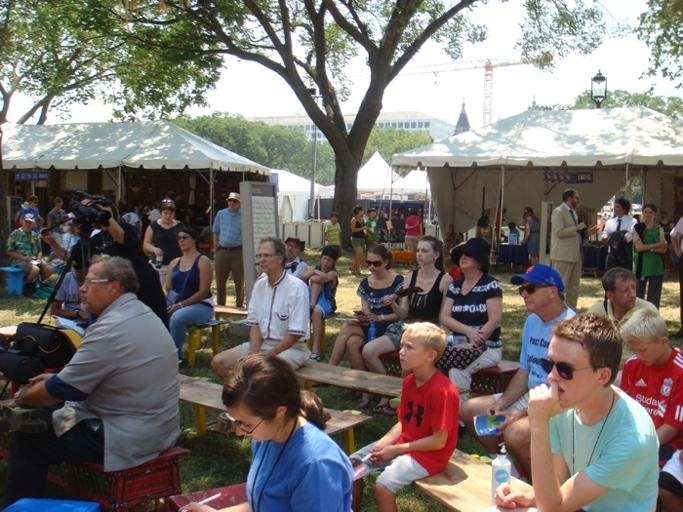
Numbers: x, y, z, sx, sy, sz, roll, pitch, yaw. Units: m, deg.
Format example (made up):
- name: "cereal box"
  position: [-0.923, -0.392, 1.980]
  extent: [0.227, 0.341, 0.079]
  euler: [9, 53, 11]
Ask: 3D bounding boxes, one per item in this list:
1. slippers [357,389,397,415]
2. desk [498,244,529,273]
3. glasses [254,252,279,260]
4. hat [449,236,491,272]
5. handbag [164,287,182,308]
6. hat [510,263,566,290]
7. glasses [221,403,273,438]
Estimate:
- name: "slippers"
  position: [0.377, 1.530, 6.700]
  extent: [0.268, 0.176, 0.522]
  euler: [0, -4, -6]
- name: "desk"
  position: [4.890, 0.065, 17.889]
  extent: [0.804, 0.636, 0.833]
  euler: [0, -2, 3]
- name: "glasses"
  position: [-0.745, 0.012, 6.267]
  extent: [0.248, 0.068, 0.124]
  euler: [1, -2, 7]
- name: "hat"
  position: [1.332, -0.015, 6.433]
  extent: [0.374, 0.362, 0.495]
  euler: [1, -2, 10]
- name: "handbag"
  position: [-2.305, 0.567, 8.414]
  extent: [0.252, 0.342, 0.190]
  euler: [0, -16, 4]
- name: "hat"
  position: [1.661, 0.219, 5.206]
  extent: [0.334, 0.190, 0.242]
  euler: [6, -10, -3]
- name: "glasses"
  position: [-0.543, 0.912, 3.445]
  extent: [0.179, 0.188, 0.277]
  euler: [2, -2, -36]
